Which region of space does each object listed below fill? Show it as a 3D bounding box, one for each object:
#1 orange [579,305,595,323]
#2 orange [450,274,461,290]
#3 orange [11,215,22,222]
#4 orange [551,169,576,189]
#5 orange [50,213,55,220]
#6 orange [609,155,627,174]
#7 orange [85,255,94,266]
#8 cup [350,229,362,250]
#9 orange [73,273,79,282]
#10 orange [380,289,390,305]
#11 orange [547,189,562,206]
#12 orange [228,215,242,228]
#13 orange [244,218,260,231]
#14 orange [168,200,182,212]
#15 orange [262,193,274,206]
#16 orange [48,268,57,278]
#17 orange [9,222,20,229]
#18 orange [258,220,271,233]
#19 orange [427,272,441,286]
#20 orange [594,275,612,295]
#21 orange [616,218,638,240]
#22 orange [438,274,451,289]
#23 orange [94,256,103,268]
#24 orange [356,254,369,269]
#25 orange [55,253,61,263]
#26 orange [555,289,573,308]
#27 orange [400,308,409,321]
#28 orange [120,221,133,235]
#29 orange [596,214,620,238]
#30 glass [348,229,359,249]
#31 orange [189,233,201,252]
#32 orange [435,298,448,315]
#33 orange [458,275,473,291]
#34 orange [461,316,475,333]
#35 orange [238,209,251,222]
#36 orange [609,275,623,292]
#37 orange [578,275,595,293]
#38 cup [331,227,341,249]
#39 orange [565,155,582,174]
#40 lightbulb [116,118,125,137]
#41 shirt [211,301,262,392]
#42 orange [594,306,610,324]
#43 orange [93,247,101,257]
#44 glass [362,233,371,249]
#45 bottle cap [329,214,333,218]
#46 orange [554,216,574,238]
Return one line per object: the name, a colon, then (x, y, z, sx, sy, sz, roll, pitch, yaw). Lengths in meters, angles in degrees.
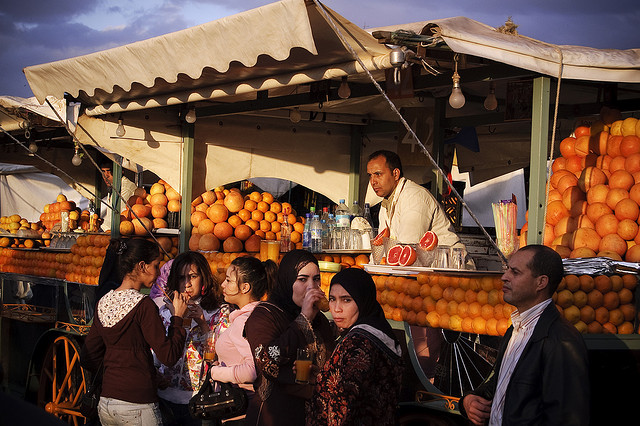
orange: (2.304, 0.865, 4.644, 0.123, 0.169, 0.132, 0, 4, -3)
orange: (1.234, 0.634, 4.922, 0.097, 0.134, 0.104, 0, 5, 3)
orange: (-6.590, 0.121, 11.561, 0.141, 0.163, 0.148, -2, -6, 0)
orange: (2.533, -0.378, 5.587, 0.176, 0.195, 0.189, -10, 39, 12)
orange: (-5.357, 0.056, 10.698, 0.111, 0.121, 0.114, -1, -1, -24)
orange: (2.887, -0.468, 5.221, 0.133, 0.179, 0.134, 15, -17, -32)
orange: (-3.158, 0.645, 7.314, 0.130, 0.145, 0.067, -1, -4, 42)
cup: (0.448, 0.325, 6.790, 0.155, 0.240, 0.093, 2, -3, 2)
orange: (-3.368, 0.879, 7.341, 0.078, 0.107, 0.084, 2, 6, 18)
orange: (0.628, 0.823, 5.331, 0.108, 0.144, 0.115, 0, 0, 0)
orange: (2.407, -0.151, 5.495, 0.136, 0.083, 0.135, 11, -18, -39)
orange: (-1.201, 0.124, 7.463, 0.141, 0.158, 0.087, -8, -7, -23)
orange: (-0.970, 0.151, 7.493, 0.143, 0.189, 0.155, -2, 17, 4)
orange: (-2.128, -0.123, 7.915, 0.174, 0.200, 0.219, 0, 14, 13)
orange: (-0.773, -0.205, 7.778, 0.143, 0.197, 0.152, -2, -15, -11)
orange: (-3.872, 0.866, 7.706, 0.088, 0.121, 0.096, 0, 8, 6)
orange: (-6.501, 0.259, 11.333, 0.142, 0.188, 0.152, 4, 9, -4)
orange: (-0.791, 0.190, 7.549, 0.169, 0.168, 0.061, 3, -3, -18)
orange: (1.063, 0.614, 5.026, 0.109, 0.116, 0.113, -2, -5, 42)
orange: (2.468, 0.612, 4.701, 0.132, 0.173, 0.137, -9, 13, 40)
orange: (2.804, 0.145, 4.885, 0.156, 0.184, 0.169, 1, -7, -26)
orange: (1.141, 0.624, 4.980, 0.113, 0.156, 0.123, 1, 6, 5)
orange: (-2.980, 0.654, 7.153, 0.118, 0.133, 0.067, 13, 0, 37)
orange: (0.502, 0.561, 6.421, 0.100, 0.138, 0.109, -4, -5, 30)
orange: (-3.839, 0.654, 7.815, 0.116, 0.124, 0.054, 0, -4, 40)
orange: (2.093, 0.734, 4.612, 0.124, 0.166, 0.133, 2, -10, 18)
orange: (0.801, 0.977, 5.153, 0.078, 0.115, 0.088, 1, 1, 25)
orange: (-2.797, 0.214, 7.665, 0.155, 0.202, 0.168, -11, -33, 0)
orange: (2.676, 0.129, 5.019, 0.172, 0.229, 0.182, 5, -9, -12)
glass: (0.419, 0.337, 6.788, 0.165, 0.297, 0.173, 1, -1, -19)
orange: (-1.743, 0.394, 7.322, 0.179, 0.246, 0.197, 6, -5, -17)
orange: (1.118, 0.862, 4.948, 0.100, 0.143, 0.118, 4, 4, 30)
orange: (1.318, 0.633, 4.882, 0.109, 0.151, 0.121, 1, 3, 6)
orange: (1.306, 0.997, 4.778, 0.102, 0.134, 0.102, -4, -7, 38)
orange: (-1.079, 0.050, 7.574, 0.087, 0.154, 0.159, -20, 26, 53)
orange: (2.605, 0.613, 4.713, 0.117, 0.157, 0.127, 0, 4, 6)
orange: (2.299, 0.604, 4.619, 0.114, 0.148, 0.131, 0, 3, 4)
cup: (0.195, 0.311, 6.837, 0.126, 0.274, 0.075, 2, -3, 3)
orange: (2.622, -0.512, 5.546, 0.138, 0.157, 0.144, 0, 3, 11)
lightbulb: (-2.758, -1.176, 7.370, 0.100, 0.267, 0.062, 3, -3, -18)
shirt: (-0.695, 1.155, 4.375, 0.384, 0.835, 0.666, -2, -6, -6)
orange: (2.446, 0.882, 4.655, 0.114, 0.150, 0.122, 0, 3, 0)
orange: (-3.062, 0.526, 7.289, 0.100, 0.115, 0.036, -7, -7, 19)
glass: (0.572, 0.349, 6.750, 0.144, 0.186, 0.149, 3, 3, 38)
bottle cap: (0.139, 0.041, 7.439, 0.038, 0.049, 0.041, 2, 5, 8)
orange: (2.400, 0.132, 5.281, 0.167, 0.224, 0.181, -5, -41, 31)
